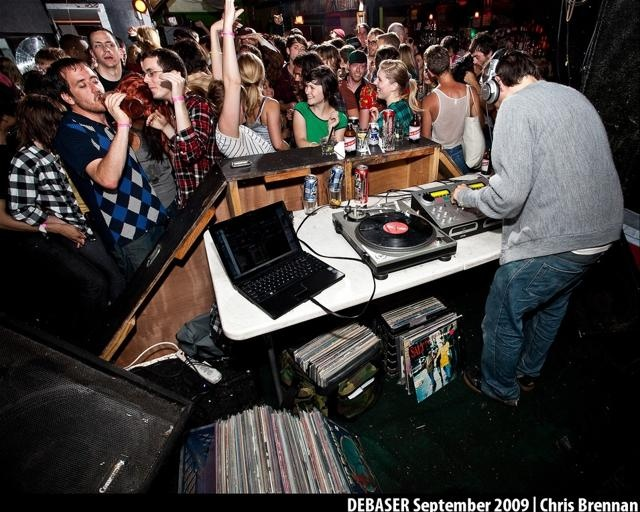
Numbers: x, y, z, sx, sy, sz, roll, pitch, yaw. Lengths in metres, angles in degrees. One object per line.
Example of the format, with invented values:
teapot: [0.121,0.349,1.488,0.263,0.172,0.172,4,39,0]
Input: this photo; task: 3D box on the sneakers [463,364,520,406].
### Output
sneakers: [1.098,0.830,2.646,0.143,0.151,0.356,-17,34,-17]

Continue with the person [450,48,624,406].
person: [1.188,-0.014,2.294,0.709,1.924,0.697,-12,37,-4]

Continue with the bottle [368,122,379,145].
bottle: [0.378,-0.855,2.853,0.094,0.161,0.095,-1,81,9]

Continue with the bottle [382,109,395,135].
bottle: [0.514,-0.979,3.040,0.080,0.187,0.187,-2,37,9]

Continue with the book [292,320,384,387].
book: [0.117,0.556,2.378,0.416,0.143,0.290,-22,31,-25]

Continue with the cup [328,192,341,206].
cup: [0.103,-0.380,2.721,0.091,0.089,0.146,1,3,1]

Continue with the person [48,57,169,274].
person: [-1.405,-0.563,2.766,0.483,1.301,0.698,-28,41,-24]

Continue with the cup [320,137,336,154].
cup: [0.057,-0.752,2.808,0.107,0.093,0.104,-1,43,1]

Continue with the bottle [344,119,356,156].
bottle: [0.212,-0.816,2.742,0.073,0.188,0.289,-2,38,9]

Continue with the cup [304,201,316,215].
cup: [-0.059,-0.313,2.691,0.081,0.085,0.082,0,62,0]

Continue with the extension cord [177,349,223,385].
extension cord: [-0.818,0.766,2.764,0.422,0.045,0.126,28,35,28]

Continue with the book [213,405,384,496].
book: [-0.089,0.892,1.750,0.640,0.428,0.364,-9,37,-1]

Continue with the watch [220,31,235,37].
watch: [-0.627,-1.526,2.801,0.104,0.044,0.096,-9,33,-21]

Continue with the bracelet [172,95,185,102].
bracelet: [-0.960,-1.062,2.738,0.070,0.045,0.053,-18,38,-13]

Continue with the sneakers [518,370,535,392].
sneakers: [1.334,0.813,2.646,0.091,0.112,0.095,-5,65,-10]

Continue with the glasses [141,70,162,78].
glasses: [-1.138,-1.235,2.762,0.122,0.038,0.125,15,26,35]
